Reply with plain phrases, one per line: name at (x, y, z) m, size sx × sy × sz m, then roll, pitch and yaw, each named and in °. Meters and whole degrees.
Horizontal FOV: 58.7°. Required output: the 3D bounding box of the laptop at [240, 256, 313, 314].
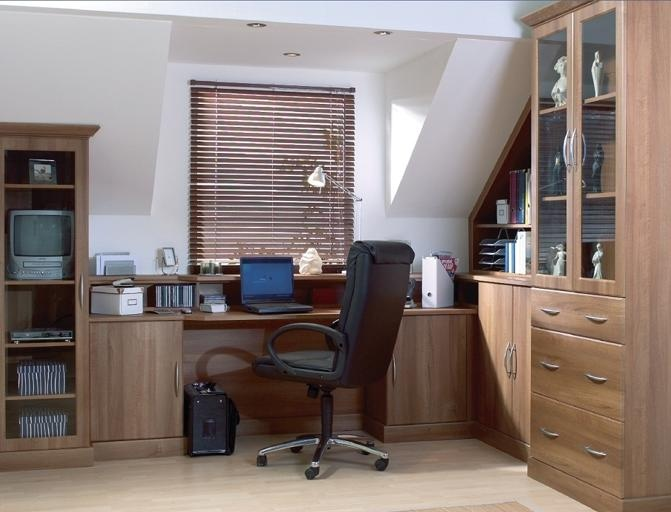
laptop at (-0.411, 0.186, 4.161) m, size 0.492 × 0.412 × 0.385 m, roll 0°, pitch 0°, yaw -25°

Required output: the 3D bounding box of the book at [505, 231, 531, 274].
book at (1.256, -0.024, 4.140) m, size 0.081 × 0.292 × 0.305 m, roll 0°, pitch 3°, yaw -9°

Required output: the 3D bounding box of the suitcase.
suitcase at (-0.886, 1.132, 3.990) m, size 0.403 × 0.399 × 0.367 m, roll 2°, pitch -15°, yaw -17°

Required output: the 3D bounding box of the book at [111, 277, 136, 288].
book at (-1.401, 0.177, 3.963) m, size 0.182 × 0.070 × 0.053 m, roll 2°, pitch 8°, yaw -4°

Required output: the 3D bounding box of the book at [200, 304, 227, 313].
book at (-0.822, 0.353, 4.049) m, size 0.184 × 0.057 × 0.130 m, roll 0°, pitch 3°, yaw -13°

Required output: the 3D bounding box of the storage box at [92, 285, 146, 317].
storage box at (-1.454, 0.284, 3.972) m, size 0.267 × 0.163 × 0.205 m, roll 4°, pitch 3°, yaw 44°

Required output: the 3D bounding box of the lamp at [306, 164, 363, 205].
lamp at (0.006, -0.550, 4.521) m, size 0.434 × 0.295 × 0.368 m, roll 0°, pitch 3°, yaw -3°
